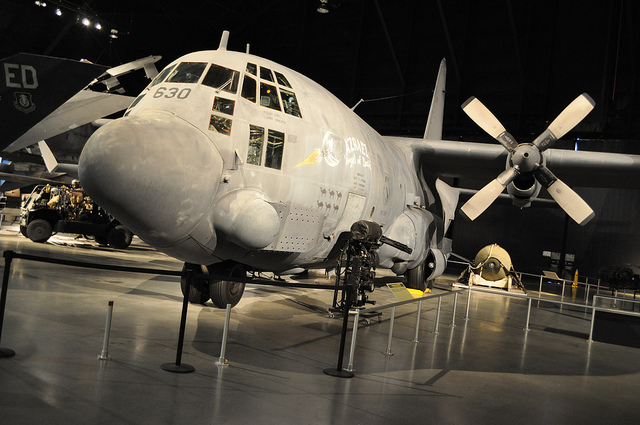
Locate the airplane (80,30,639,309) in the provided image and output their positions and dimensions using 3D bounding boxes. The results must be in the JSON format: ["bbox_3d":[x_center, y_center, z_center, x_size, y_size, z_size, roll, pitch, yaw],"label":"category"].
[{"bbox_3d":[1.079,-0.658,11.876,10.639,4.470,10.681,6,4,33],"label":"airplane"}]

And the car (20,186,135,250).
[{"bbox_3d":[-9.966,0.103,22.085,4.630,2.440,2.586,5,6,5],"label":"car"}]

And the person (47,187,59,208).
[{"bbox_3d":[-11.660,-0.632,21.874,0.239,0.767,0.576,9,-13,-16],"label":"person"}]
